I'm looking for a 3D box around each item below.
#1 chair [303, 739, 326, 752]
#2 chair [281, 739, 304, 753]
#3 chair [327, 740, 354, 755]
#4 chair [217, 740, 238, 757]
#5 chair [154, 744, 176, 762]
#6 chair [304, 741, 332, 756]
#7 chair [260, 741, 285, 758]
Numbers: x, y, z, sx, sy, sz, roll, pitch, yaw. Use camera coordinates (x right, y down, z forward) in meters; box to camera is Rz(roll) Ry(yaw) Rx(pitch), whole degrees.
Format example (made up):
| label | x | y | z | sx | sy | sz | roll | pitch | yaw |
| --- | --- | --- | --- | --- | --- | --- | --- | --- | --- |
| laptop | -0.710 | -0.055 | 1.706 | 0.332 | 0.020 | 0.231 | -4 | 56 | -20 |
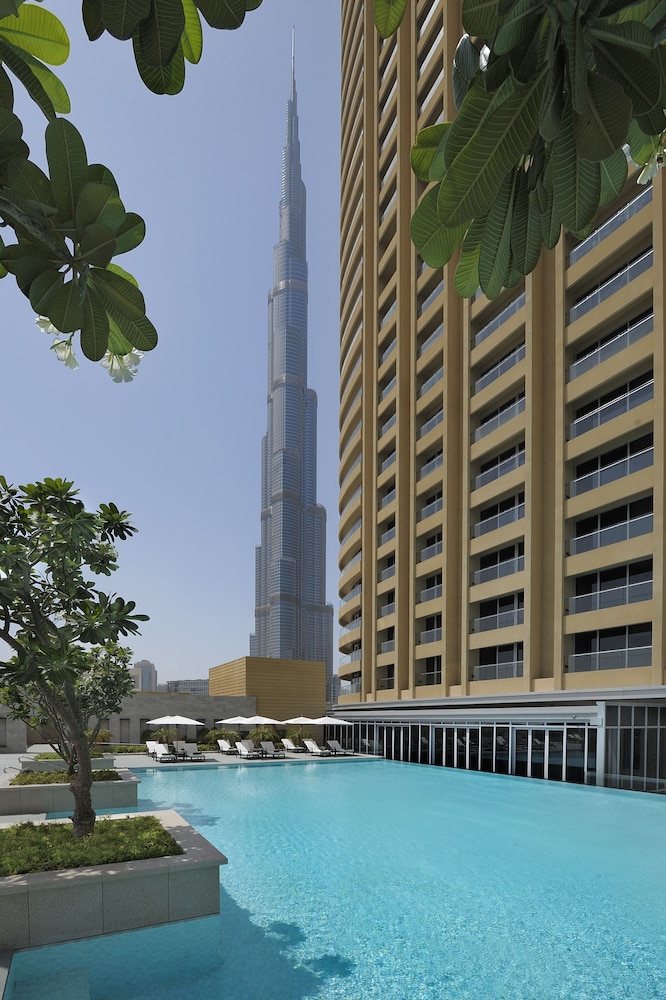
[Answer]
| label | x | y | z | sx | sy | sz | roll | pitch | yaw |
| --- | --- | --- | --- | --- | --- | --- | --- | --- | --- |
| chair | -1.003 | 12.642 | 37.558 | 0.604 | 0.698 | 1.719 | 5 | -22 | -15 |
| chair | -2.109 | 12.796 | 37.958 | 0.720 | 0.523 | 1.284 | 5 | -12 | -27 |
| chair | 0.403 | 13.202 | 38.371 | 0.837 | 0.734 | 1.396 | 4 | -8 | -32 |
| chair | -5.216 | 12.228 | 36.074 | 0.706 | 0.607 | 1.213 | 3 | -15 | -14 |
| chair | -7.158 | 10.745 | 31.177 | 0.589 | 0.719 | 1.887 | 3 | -14 | -19 |
| chair | -0.693 | 12.596 | 36.861 | 0.704 | 0.594 | 1.415 | 3 | -10 | -24 |
| chair | -2.881 | 11.661 | 34.149 | 0.697 | 0.635 | 1.272 | 3 | -10 | -19 |
